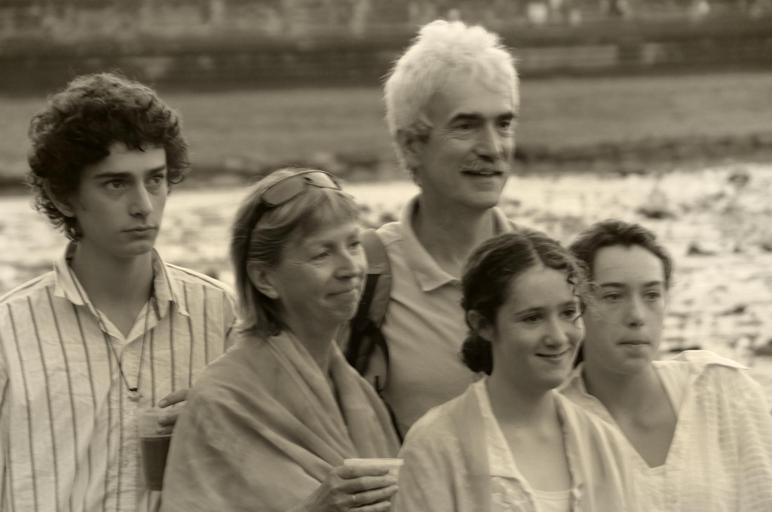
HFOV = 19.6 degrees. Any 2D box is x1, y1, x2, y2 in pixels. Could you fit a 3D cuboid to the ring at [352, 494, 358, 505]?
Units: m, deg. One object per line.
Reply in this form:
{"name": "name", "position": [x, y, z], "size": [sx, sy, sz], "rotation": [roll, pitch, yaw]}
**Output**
{"name": "ring", "position": [-0.226, 1.790, 16.144], "size": [0.039, 0.067, 0.012], "rotation": [-2, 5, -6]}
